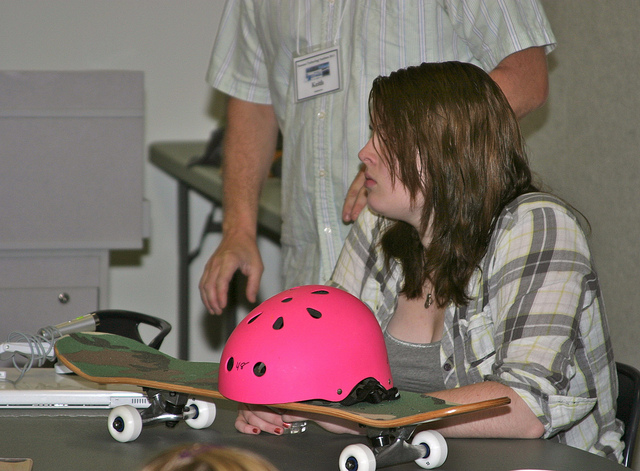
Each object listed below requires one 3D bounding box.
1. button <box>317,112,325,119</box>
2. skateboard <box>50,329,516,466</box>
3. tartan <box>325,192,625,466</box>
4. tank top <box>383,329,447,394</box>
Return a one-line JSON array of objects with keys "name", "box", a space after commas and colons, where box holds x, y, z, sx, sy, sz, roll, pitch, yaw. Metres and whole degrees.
[{"name": "button", "box": [0.002, -0.328, 2.283, 0.021, 0.018, 0.004, 0, 0, 34]}, {"name": "skateboard", "box": [-0.110, 0.315, 1.630, 0.955, 0.208, 0.319, 0, -1, 22]}, {"name": "tartan", "box": [0.378, 0.214, 1.889, 0.499, 0.600, 0.746, 2, 5, -33]}, {"name": "tank top", "box": [0.221, 0.299, 1.891, 0.195, 0.178, 0.115, -4, -13, 8]}]
